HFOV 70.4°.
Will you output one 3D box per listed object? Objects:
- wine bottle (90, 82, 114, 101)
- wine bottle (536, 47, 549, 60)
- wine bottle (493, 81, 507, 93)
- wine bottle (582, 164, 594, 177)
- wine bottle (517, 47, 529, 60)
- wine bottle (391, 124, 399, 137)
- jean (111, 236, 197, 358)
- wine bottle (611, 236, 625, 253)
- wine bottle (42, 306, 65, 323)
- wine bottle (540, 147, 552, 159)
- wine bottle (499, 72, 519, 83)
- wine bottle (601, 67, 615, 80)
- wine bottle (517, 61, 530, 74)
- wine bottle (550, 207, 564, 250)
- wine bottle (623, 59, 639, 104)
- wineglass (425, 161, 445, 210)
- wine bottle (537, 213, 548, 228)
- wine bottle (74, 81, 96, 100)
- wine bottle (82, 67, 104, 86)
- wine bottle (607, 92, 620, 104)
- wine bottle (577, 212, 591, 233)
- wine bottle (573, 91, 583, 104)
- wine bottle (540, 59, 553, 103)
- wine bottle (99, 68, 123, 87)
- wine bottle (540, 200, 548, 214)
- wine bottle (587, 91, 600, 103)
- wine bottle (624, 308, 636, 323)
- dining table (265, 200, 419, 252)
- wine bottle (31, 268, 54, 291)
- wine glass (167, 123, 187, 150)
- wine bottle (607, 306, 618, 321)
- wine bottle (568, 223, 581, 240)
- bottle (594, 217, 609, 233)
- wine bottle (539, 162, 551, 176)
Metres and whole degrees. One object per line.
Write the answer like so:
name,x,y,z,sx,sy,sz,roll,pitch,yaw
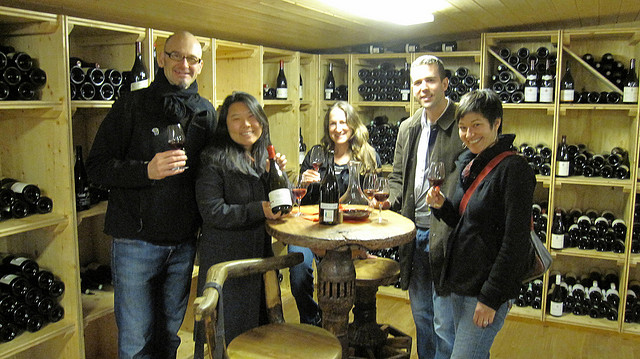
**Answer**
wine bottle,-1.912,-0.782,4.014,0.153,0.142,0.154,-1,10,21
wine bottle,2.534,-1.449,5.194,0.128,0.121,0.119,15,11,9
wine bottle,2.073,-1.067,5.303,0.168,0.145,0.163,-3,6,-13
wine bottle,3.048,-0.092,5.156,0.119,0.108,0.120,-4,7,-18
wine bottle,2.353,-1.464,5.246,0.138,0.130,0.130,15,16,10
wine bottle,0.952,-0.630,5.841,0.078,0.149,0.278,0,10,7
jean,-1.383,1.042,3.841,0.678,1.170,0.230,-4,10,-19
wine bottle,3.366,0.744,5.116,0.123,0.157,0.114,-1,10,0
wine bottle,-2.293,1.157,3.874,0.141,0.133,0.128,-15,-6,-32
wine bottle,2.636,-0.304,5.294,0.126,0.119,0.115,-12,-1,10
wine bottle,2.179,-1.195,5.256,0.101,0.095,0.160,-27,-14,21
wine bottle,3.257,-1.207,5.120,0.119,0.138,0.168,5,12,32
wine bottle,2.335,-1.297,5.223,0.136,0.129,0.101,21,24,14
wine bottle,2.729,0.577,5.190,0.121,0.454,0.194,6,12,36
wine bottle,3.386,-1.069,4.927,0.144,0.476,0.114,2,10,18
wineglass,0.912,-0.030,3.564,0.126,0.223,0.138,1,10,13
wine bottle,2.592,0.486,5.275,0.112,0.137,0.142,5,-10,26
wine bottle,-2.024,-0.768,3.895,0.159,0.140,0.165,15,-31,-42
wine bottle,-1.964,-0.911,3.953,0.186,0.176,0.131,8,32,27
wine bottle,3.253,-0.908,5.028,0.110,0.123,0.203,6,12,36
wine bottle,3.059,0.520,5.251,0.135,0.174,0.181,4,11,27
wine bottle,2.922,-0.935,5.137,0.097,0.126,0.129,-1,10,1
wine bottle,2.563,-1.119,5.120,0.140,0.483,0.130,-1,10,0
wine bottle,-1.870,-0.905,4.020,0.193,0.119,0.121,14,-8,45
wine bottle,2.661,0.336,5.384,0.118,0.126,0.121,2,8,13
wine bottle,3.078,-0.928,5.097,0.136,0.116,0.097,-14,18,32
wine bottle,3.472,1.539,5.079,0.140,0.154,0.081,-9,13,-39
dining table,0.145,0.382,3.488,1.116,0.456,0.693,-1,10,-3
wine bottle,-2.384,0.867,3.870,0.100,0.099,0.161,-27,23,-21
wine glass,-1.146,-0.339,3.615,0.152,0.212,0.316,-4,11,-17
wine bottle,3.308,1.530,5.120,0.109,0.101,0.173,33,16,26
wine bottle,2.940,0.609,5.232,0.130,0.173,0.073,2,10,15
bottle,3.207,0.527,5.221,0.153,0.139,0.148,22,-26,3
wine bottle,2.599,-0.119,5.251,0.133,0.126,0.127,4,27,27
